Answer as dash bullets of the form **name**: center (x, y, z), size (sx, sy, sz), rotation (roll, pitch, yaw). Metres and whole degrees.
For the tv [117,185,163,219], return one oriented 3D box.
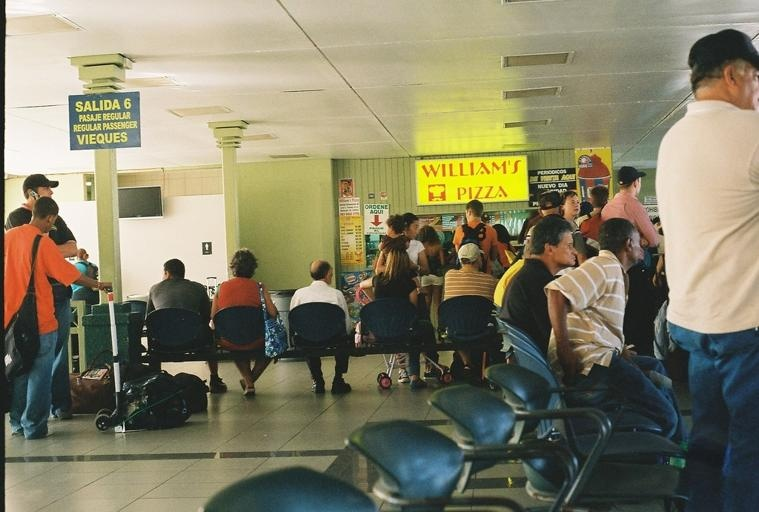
- **tv**: center (-4.126, -0.921, 13.171), size (1.011, 0.662, 0.507), rotation (0, -2, 6)

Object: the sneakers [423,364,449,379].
- **sneakers**: center (0.636, 1.289, 8.527), size (0.255, 0.098, 0.139), rotation (0, -3, -15)

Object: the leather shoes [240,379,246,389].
- **leather shoes**: center (-1.501, 1.406, 8.419), size (0.044, 0.113, 0.085), rotation (-6, -2, -21)

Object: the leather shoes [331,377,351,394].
- **leather shoes**: center (-0.414, 1.386, 8.152), size (0.244, 0.218, 0.114), rotation (1, -10, -4)

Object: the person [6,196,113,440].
- **person**: center (-3.118, 0.540, 7.108), size (0.745, 2.221, 0.485), rotation (-7, 3, -26)

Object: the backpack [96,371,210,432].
- **backpack**: center (-2.196, 1.371, 7.270), size (0.769, 0.370, 0.528), rotation (-2, -1, 4)

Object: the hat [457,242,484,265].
- **hat**: center (0.967, -0.034, 8.133), size (0.274, 0.186, 0.434), rotation (6, 6, 16)

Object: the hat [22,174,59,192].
- **hat**: center (-3.326, -0.722, 7.562), size (0.333, 0.161, 0.210), rotation (-2, 6, -19)

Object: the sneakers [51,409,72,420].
- **sneakers**: center (-3.136, 1.559, 7.580), size (0.238, 0.101, 0.081), rotation (4, 0, -1)
